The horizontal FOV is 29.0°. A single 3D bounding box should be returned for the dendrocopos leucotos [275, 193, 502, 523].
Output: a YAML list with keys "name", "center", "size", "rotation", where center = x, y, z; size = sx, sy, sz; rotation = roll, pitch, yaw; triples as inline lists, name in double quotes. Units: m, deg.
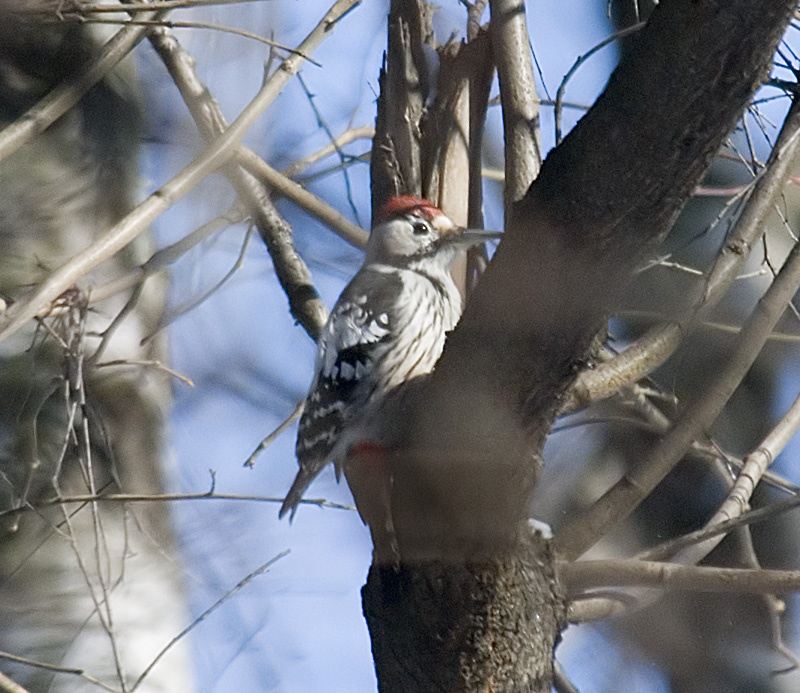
- name: "dendrocopos leucotos"
  center: [-0.089, 0.111, 5.641]
  size: [0.671, 1.259, 0.494]
  rotation: [-8, -22, 26]
